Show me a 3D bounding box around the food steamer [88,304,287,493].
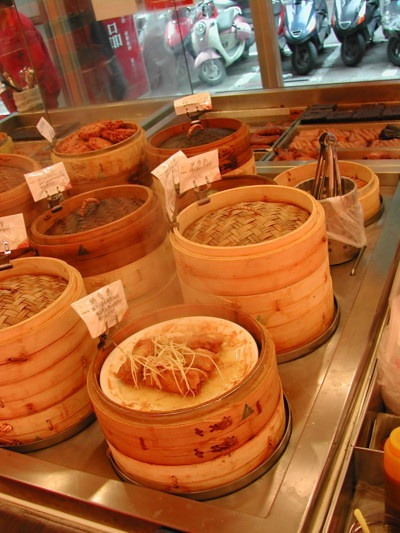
[{"bbox_3d":[-0.034,0.226,0.745,0.333,0.177,0.315,-14,31,-18],"label":"food steamer"}]

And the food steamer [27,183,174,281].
[{"bbox_3d":[-0.259,-0.103,1.101,0.325,0.155,0.316,-27,26,-26],"label":"food steamer"}]

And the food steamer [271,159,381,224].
[{"bbox_3d":[0.509,-0.308,1.480,0.316,0.099,0.307,-13,29,0],"label":"food steamer"}]

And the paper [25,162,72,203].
[{"bbox_3d":[-0.445,-0.252,1.185,0.005,0.088,0.137,19,37,31],"label":"paper"}]

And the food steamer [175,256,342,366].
[{"bbox_3d":[0.121,0.056,1.006,0.367,0.212,0.357,0,14,6],"label":"food steamer"}]

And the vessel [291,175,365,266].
[{"bbox_3d":[0.446,-0.140,1.315,0.264,0.269,0.277,-6,29,19],"label":"vessel"}]

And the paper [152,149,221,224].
[{"bbox_3d":[-0.022,-0.222,1.024,0.079,0.140,0.282,5,27,25],"label":"paper"}]

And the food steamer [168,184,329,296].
[{"bbox_3d":[0.107,-0.065,0.927,0.336,0.143,0.340,-24,29,-22],"label":"food steamer"}]

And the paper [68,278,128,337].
[{"bbox_3d":[-0.192,0.087,0.810,0.015,0.089,0.133,-8,12,29],"label":"paper"}]

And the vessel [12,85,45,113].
[{"bbox_3d":[-0.846,-0.842,2.006,0.142,0.124,0.121,-11,29,-14],"label":"vessel"}]

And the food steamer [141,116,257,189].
[{"bbox_3d":[0.007,-0.424,1.366,0.333,0.215,0.306,-10,23,1],"label":"food steamer"}]

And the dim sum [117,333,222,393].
[{"bbox_3d":[-0.057,0.181,0.714,0.179,0.055,0.188,1,12,-16],"label":"dim sum"}]

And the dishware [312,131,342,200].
[{"bbox_3d":[0.364,-0.292,1.158,0.082,0.194,0.155,-5,29,19],"label":"dishware"}]

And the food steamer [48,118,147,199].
[{"bbox_3d":[-0.353,-0.369,1.476,0.351,0.200,0.330,-1,34,18],"label":"food steamer"}]
